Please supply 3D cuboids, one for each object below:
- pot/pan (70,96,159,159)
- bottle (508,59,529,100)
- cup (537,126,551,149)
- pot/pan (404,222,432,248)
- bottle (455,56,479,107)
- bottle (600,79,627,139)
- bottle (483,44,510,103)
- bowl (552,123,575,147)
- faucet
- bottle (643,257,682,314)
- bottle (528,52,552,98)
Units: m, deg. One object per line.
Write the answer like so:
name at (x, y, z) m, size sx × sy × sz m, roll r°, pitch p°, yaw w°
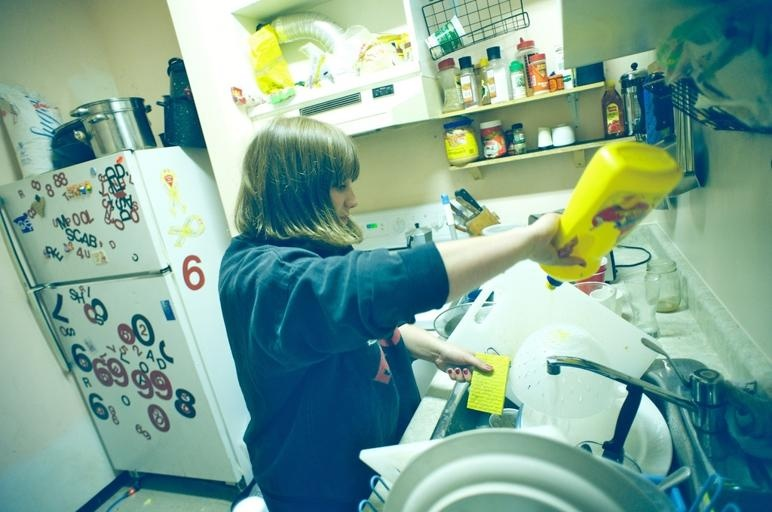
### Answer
pot/pan at (-1.405, -0.669, 2.882) m, size 0.353 × 0.274 × 0.242 m, roll -16°, pitch 18°, yaw -20°
bottle at (0.675, -0.904, 2.858) m, size 0.088 × 0.187 × 0.152 m, roll -6°, pitch 18°, yaw 14°
cup at (0.826, -0.613, 2.920) m, size 0.080 × 0.103 × 0.106 m, roll -2°, pitch 6°, yaw 14°
pot/pan at (0.170, -0.128, 3.135) m, size 0.112 × 0.153 × 0.188 m, roll 4°, pitch 20°, yaw 27°
bottle at (0.431, -0.923, 2.958) m, size 0.094 × 0.256 × 0.156 m, roll -6°, pitch 18°, yaw 15°
bottle at (1.132, -0.732, 2.794) m, size 0.088 × 0.272 × 0.148 m, roll -7°, pitch 18°, yaw 12°
bottle at (0.559, -0.928, 2.866) m, size 0.112 × 0.275 × 0.086 m, roll -2°, pitch 20°, yaw 26°
bowl at (0.907, -0.621, 2.878) m, size 0.115 × 0.104 × 0.112 m, roll -6°, pitch 9°, yaw 1°
faucet at (0.805, 0.396, 1.855) m, size 0.574 × 0.273 × 0.101 m, roll 2°, pitch 32°, yaw 17°
bottle at (1.125, 0.113, 2.337) m, size 0.157 × 0.224 × 0.214 m, roll -10°, pitch 16°, yaw 13°
bottle at (0.761, -0.915, 2.798) m, size 0.094 × 0.194 × 0.100 m, roll -9°, pitch 18°, yaw 3°
